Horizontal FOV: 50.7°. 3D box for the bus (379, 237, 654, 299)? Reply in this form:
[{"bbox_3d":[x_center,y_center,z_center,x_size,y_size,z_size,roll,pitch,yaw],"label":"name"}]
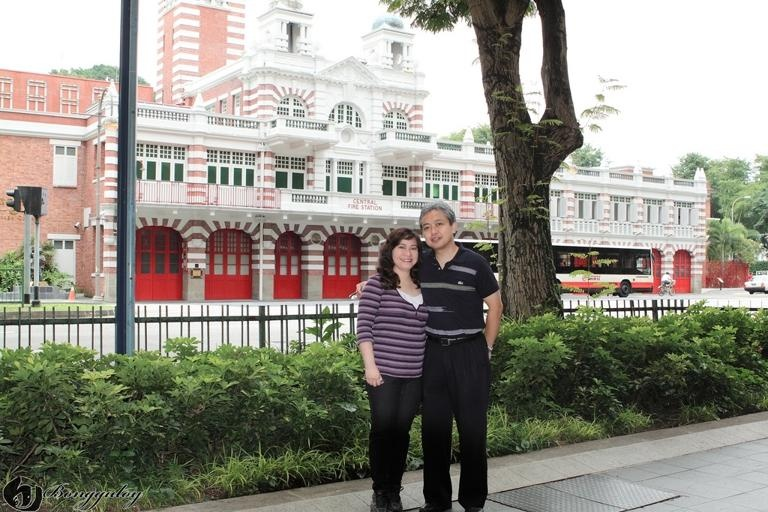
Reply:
[{"bbox_3d":[8.468,0.784,41.888,18.964,4.222,4.513,-1,-1,-27],"label":"bus"}]

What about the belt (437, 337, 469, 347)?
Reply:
[{"bbox_3d":[0.717,0.914,8.628,0.325,0.083,0.067,-1,-7,-9],"label":"belt"}]

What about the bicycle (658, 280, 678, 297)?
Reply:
[{"bbox_3d":[17.229,1.997,49.530,1.421,0.794,0.678,-6,4,-29],"label":"bicycle"}]

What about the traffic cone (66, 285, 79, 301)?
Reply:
[{"bbox_3d":[-13.984,1.695,36.186,0.638,0.761,0.602,0,-1,-8],"label":"traffic cone"}]
